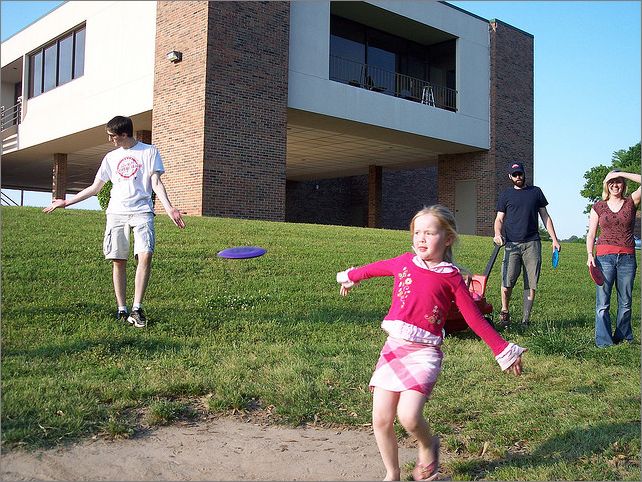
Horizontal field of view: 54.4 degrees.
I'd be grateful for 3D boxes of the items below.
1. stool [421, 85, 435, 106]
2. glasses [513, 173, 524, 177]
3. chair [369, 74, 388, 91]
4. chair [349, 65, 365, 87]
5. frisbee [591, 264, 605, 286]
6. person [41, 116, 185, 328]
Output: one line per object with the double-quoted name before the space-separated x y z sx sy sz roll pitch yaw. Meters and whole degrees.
"stool" 4.609 -6.288 26.909 0.599 0.872 1.047 2 11 8
"glasses" 2.923 -0.988 9.296 0.086 0.069 0.148 -4 11 6
"chair" 2.251 -6.426 25.508 0.741 0.744 2.281 1 11 4
"chair" 1.404 -6.615 24.903 0.580 0.966 1.822 1 11 3
"frisbee" 3.597 0.452 8.167 0.170 0.274 0.328 8 13 38
"person" -2.381 -0.242 7.825 1.307 2.598 0.545 2 10 11
